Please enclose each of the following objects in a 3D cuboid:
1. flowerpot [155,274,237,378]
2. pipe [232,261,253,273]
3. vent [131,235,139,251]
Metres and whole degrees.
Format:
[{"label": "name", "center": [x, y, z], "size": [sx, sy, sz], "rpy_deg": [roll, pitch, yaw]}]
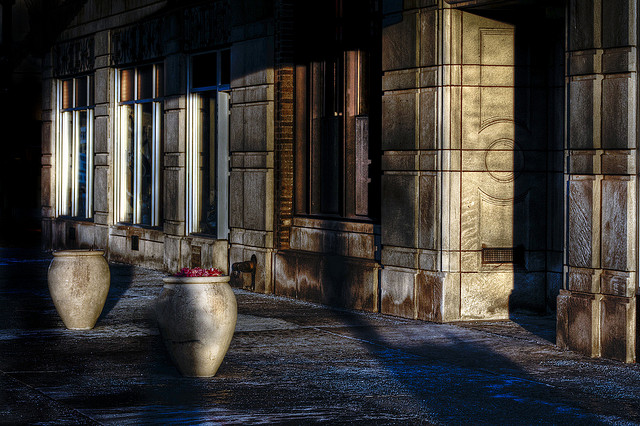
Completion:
[{"label": "flowerpot", "center": [-1.850, 1.582, 15.634], "size": [1.177, 1.488, 1.271], "rpy_deg": [-1, 1, -1]}, {"label": "pipe", "center": [-1.542, 1.091, 22.032], "size": [0.395, 0.264, 0.325], "rpy_deg": [-1, 7, -6]}, {"label": "vent", "center": [-4.401, 0.708, 26.395], "size": [0.177, 0.353, 0.341], "rpy_deg": [1, -4, -27]}]
